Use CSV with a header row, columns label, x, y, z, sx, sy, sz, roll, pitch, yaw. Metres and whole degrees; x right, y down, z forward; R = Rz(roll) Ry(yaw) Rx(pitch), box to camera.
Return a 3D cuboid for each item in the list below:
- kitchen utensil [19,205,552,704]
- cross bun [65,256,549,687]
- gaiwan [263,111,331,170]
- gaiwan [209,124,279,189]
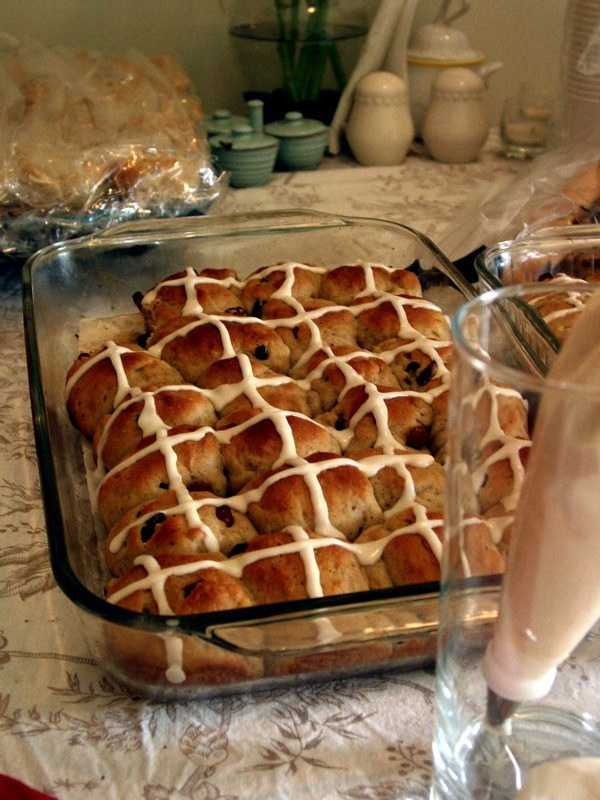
label,x,y,z,sx,sy,sz,roll,pitch,yaw
kitchen utensil,-0.033,0.013,0.766,0.482,0.129,0.587,-2,42,-10
cross bun,-0.011,0.007,0.781,0.542,0.318,0.447,-11,21,-29
gaiwan,-0.008,-0.558,1.560,0.140,0.107,0.137,10,38,21
gaiwan,-0.102,-0.467,1.409,0.138,0.109,0.139,-1,31,-1
